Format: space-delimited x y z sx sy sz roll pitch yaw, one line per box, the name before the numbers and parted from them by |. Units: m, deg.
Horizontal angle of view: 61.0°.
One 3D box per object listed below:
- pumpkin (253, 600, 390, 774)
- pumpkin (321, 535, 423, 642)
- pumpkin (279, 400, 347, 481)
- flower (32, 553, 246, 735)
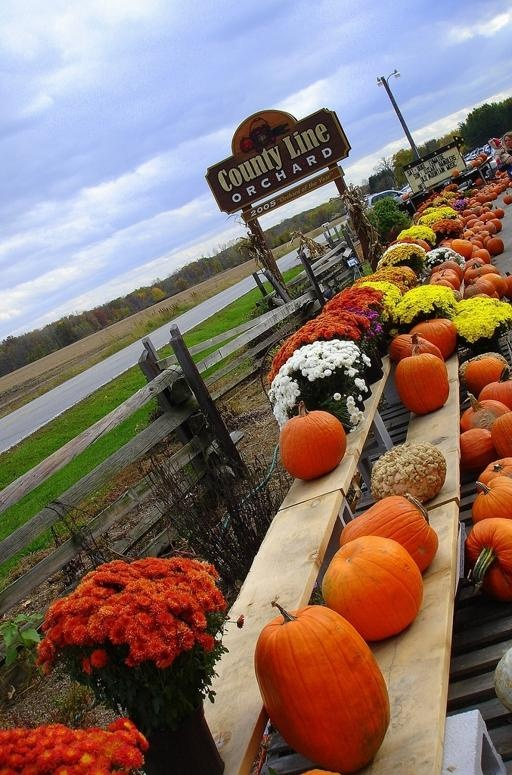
pumpkin | 0.210 0.913 1.322 0.303 0.453 0.249 -21 10 35
pumpkin | 0.469 0.792 1.942 0.429 0.388 0.406 -11 2 -9
pumpkin | 0.459 0.363 3.215 0.496 0.623 0.557 -7 8 24
flower | -0.300 0.589 1.104 0.459 0.398 0.437 -2 0 -31
